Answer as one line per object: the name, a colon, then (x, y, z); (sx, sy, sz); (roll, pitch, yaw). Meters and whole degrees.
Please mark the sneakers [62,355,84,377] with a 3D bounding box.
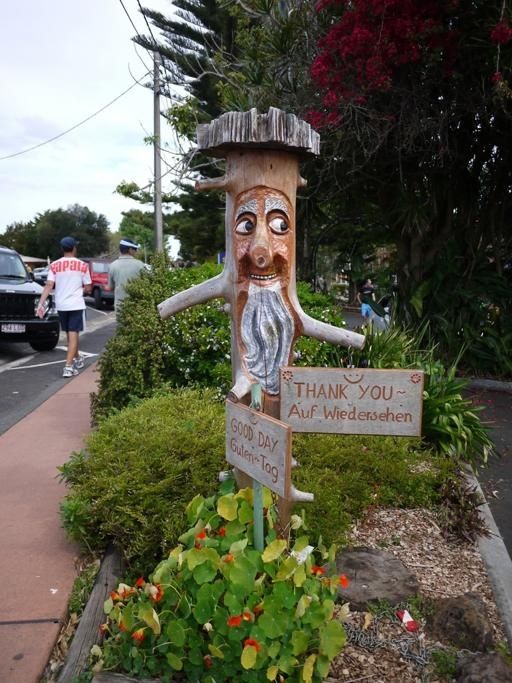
sneakers: (-2.515, 0.351, 7.525); (0.165, 0.192, 0.472); (5, 18, 6)
